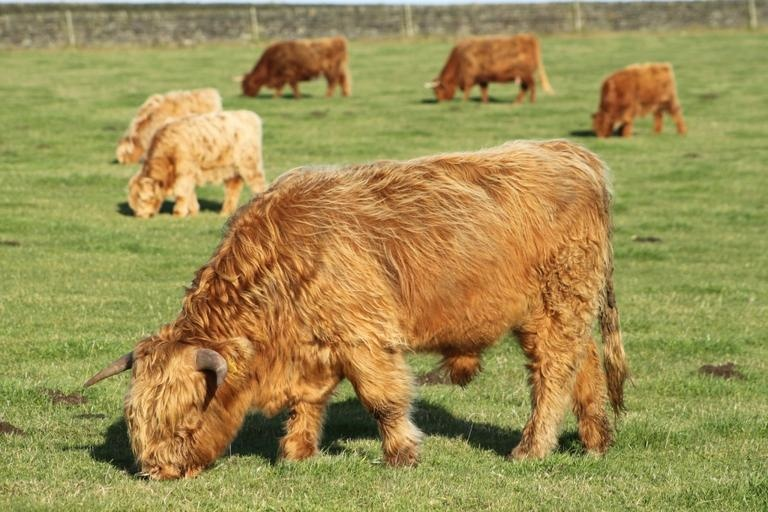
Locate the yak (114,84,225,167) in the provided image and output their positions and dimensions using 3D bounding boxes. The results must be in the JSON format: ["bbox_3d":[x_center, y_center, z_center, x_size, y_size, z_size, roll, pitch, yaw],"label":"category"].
[{"bbox_3d":[-7.054,-4.192,55.038,4.268,2.578,1.407,-20,35,-32],"label":"yak"}]

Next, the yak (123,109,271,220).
[{"bbox_3d":[-5.804,-2.951,52.141,4.501,3.347,2.056,-8,8,-24],"label":"yak"}]

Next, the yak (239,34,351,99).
[{"bbox_3d":[-3.110,-6.826,60.267,4.072,2.325,1.058,-6,20,-14],"label":"yak"}]
